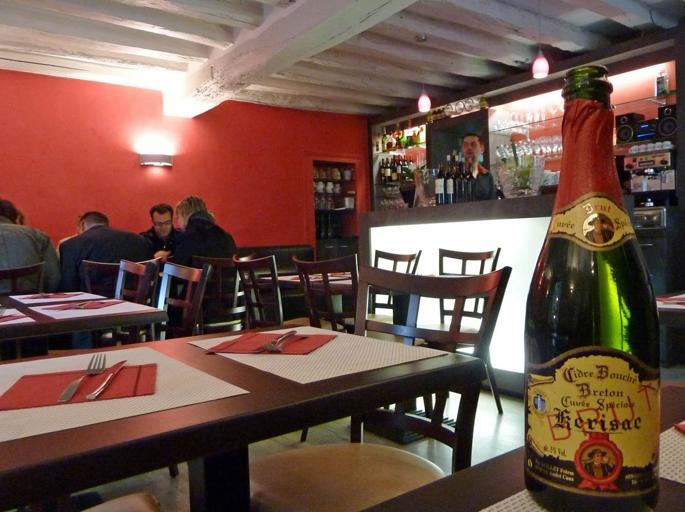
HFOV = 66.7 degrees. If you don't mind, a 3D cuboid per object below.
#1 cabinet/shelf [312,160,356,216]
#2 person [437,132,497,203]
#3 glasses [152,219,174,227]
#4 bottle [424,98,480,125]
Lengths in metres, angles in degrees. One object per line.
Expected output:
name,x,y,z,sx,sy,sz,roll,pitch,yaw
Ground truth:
cabinet/shelf,-0.142,-1.101,8.203,1.007,0.825,0.323,2,-2,-41
person,1.224,-0.665,4.679,0.347,0.879,0.251,2,19,33
glasses,-1.896,-0.347,5.496,0.170,0.055,0.151,-5,4,-22
bottle,1.478,-1.919,6.824,0.229,0.215,0.971,-6,5,-30
